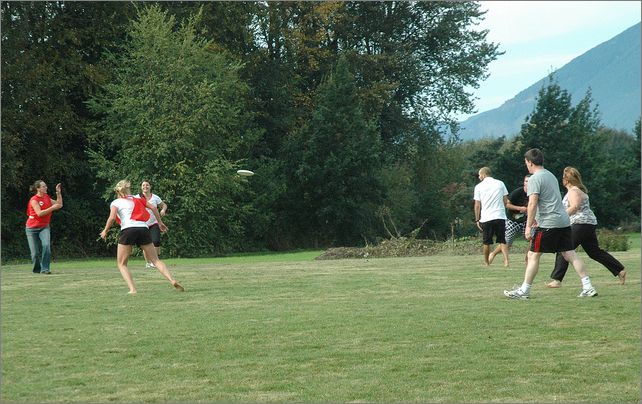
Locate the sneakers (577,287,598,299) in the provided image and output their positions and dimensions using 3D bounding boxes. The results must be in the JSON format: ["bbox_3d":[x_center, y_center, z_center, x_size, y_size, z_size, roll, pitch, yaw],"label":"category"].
[{"bbox_3d":[7.608,2.569,20.545,0.617,0.266,0.225,-18,-1,32],"label":"sneakers"}]

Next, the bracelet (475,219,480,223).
[{"bbox_3d":[5.434,0.651,25.208,0.125,0.081,0.083,-16,-10,-2],"label":"bracelet"}]
